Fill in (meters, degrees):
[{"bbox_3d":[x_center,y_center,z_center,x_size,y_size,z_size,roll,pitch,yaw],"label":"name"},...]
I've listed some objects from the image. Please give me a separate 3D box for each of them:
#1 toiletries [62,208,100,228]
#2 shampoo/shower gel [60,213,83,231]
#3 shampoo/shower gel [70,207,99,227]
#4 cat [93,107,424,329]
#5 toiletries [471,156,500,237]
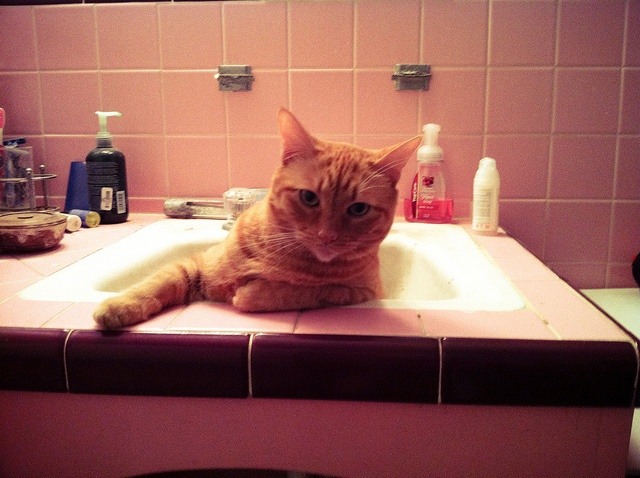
[{"bbox_3d":[-0.682,-0.072,1.614,0.103,0.058,0.060,10,34,33],"label":"toiletries"},{"bbox_3d":[-0.675,-0.048,1.502,0.050,0.051,0.063,-5,10,-39],"label":"shampoo/shower gel"},{"bbox_3d":[-0.665,-0.062,1.577,0.097,0.054,0.058,7,7,40],"label":"shampoo/shower gel"},{"bbox_3d":[-0.122,0.004,1.219,0.563,0.339,0.445,1,2,-17],"label":"cat"},{"bbox_3d":[0.455,-0.117,1.540,0.087,0.216,0.083,4,10,20],"label":"toiletries"}]
